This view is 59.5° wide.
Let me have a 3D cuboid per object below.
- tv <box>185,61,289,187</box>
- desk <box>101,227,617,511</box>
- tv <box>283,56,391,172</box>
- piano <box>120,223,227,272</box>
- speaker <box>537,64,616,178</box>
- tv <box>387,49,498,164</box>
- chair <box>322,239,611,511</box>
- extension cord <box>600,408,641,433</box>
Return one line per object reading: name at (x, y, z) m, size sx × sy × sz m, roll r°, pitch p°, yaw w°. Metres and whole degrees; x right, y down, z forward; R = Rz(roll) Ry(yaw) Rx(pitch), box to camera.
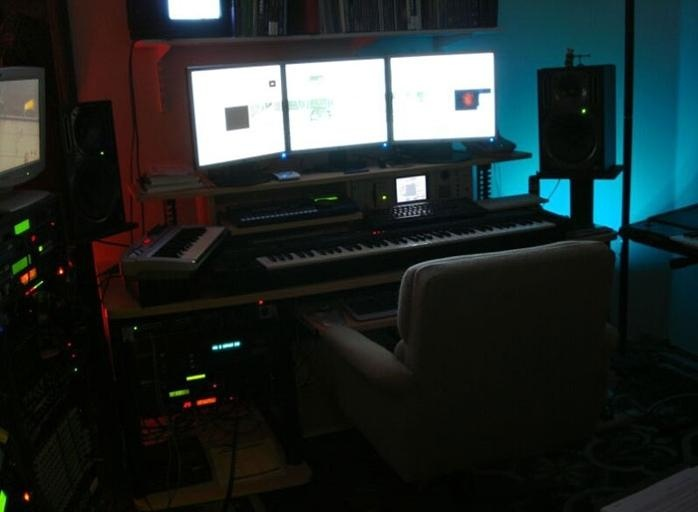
tv at (-0.540, -0.657, 3.057) m, size 0.493 × 0.560 × 0.218 m, roll -12°, pitch 20°, yaw -27°
desk at (0.374, 0.164, 2.444) m, size 0.983 × 0.774 × 0.946 m, roll -9°, pitch 19°, yaw -26°
tv at (-0.068, -0.775, 3.225) m, size 0.596 × 0.480 × 0.064 m, roll -6°, pitch 15°, yaw -16°
piano at (-0.789, -0.021, 2.764) m, size 0.384 × 0.129 × 0.531 m, roll -2°, pitch 19°, yaw -1°
speaker at (1.173, -0.715, 3.320) m, size 0.413 × 0.534 × 0.414 m, roll 1°, pitch 5°, yaw 27°
tv at (0.508, -0.823, 3.331) m, size 0.617 × 0.475 × 0.064 m, roll -2°, pitch 13°, yaw -2°
chair at (0.471, 0.332, 2.547) m, size 1.066 × 0.902 × 0.849 m, roll -10°, pitch 16°, yaw -23°
extension cord at (1.336, 0.816, 3.024) m, size 0.106 × 0.022 × 0.276 m, roll 3°, pitch 15°, yaw 34°
